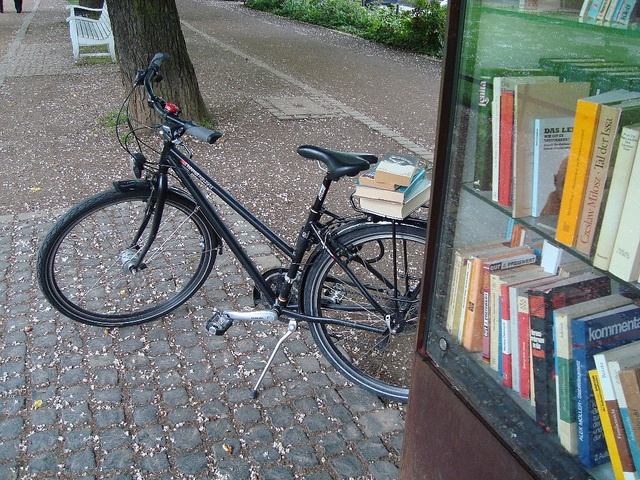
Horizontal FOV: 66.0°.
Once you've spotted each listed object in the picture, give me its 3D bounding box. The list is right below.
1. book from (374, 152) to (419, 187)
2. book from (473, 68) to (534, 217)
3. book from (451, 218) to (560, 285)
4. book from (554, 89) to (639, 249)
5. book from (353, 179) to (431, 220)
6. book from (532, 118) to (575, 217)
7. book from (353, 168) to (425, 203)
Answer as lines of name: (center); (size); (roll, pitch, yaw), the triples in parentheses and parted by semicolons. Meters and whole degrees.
book: (0.395, -0.362, 2.453); (0.198, 0.043, 0.191); (13, 36, 23)
book: (0.615, -0.340, 1.636); (0.219, 0.366, 0.388); (4, 27, 13)
book: (0.697, 0.069, 1.868); (0.272, 0.192, 0.277); (-18, -18, 33)
book: (0.804, -0.203, 1.418); (0.132, 0.336, 0.367); (7, 39, 14)
book: (0.391, -0.172, 2.471); (0.251, 0.055, 0.249); (-24, 34, -31)
book: (0.723, -0.235, 1.523); (0.040, 0.278, 0.255); (13, 27, 39)
book: (0.388, -0.263, 2.507); (0.224, 0.050, 0.219); (14, 30, 28)
